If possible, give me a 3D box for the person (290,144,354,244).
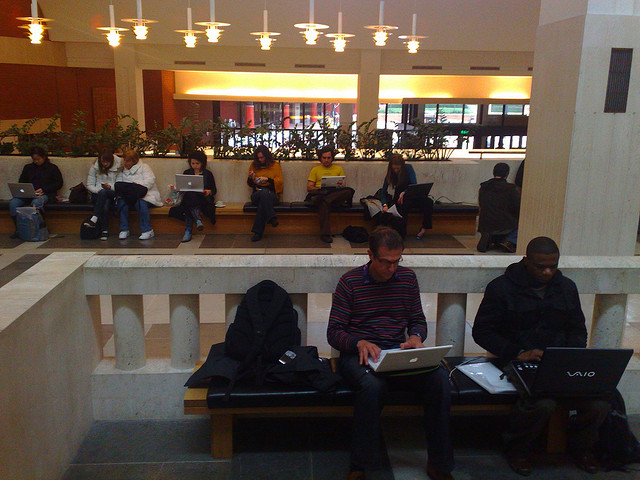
[{"bbox_3d":[-0.014,-0.794,9.183,1.255,1.526,1.059,-14,17,-31],"label":"person"}]

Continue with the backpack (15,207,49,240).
[{"bbox_3d":[-4.510,-0.234,8.698,0.610,0.561,0.338,4,8,35],"label":"backpack"}]

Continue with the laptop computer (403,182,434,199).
[{"bbox_3d":[1.567,-0.868,8.755,0.399,0.245,0.267,-3,38,-21],"label":"laptop computer"}]

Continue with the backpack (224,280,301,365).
[{"bbox_3d":[-0.409,0.569,3.846,0.492,0.493,0.362,-4,13,-10],"label":"backpack"}]

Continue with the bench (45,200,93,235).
[{"bbox_3d":[-4.235,-0.369,9.473,0.680,0.458,1.046,0,3,-25],"label":"bench"}]

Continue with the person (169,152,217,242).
[{"bbox_3d":[-2.039,-0.731,8.986,0.830,1.349,0.660,-14,17,-41],"label":"person"}]

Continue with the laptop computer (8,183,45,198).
[{"bbox_3d":[-4.619,-0.774,8.611,0.355,0.226,0.237,5,29,-3],"label":"laptop computer"}]

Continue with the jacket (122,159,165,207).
[{"bbox_3d":[-3.052,-0.865,9.006,0.613,0.562,0.632,11,-6,-14],"label":"jacket"}]

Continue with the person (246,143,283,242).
[{"bbox_3d":[-0.889,-0.812,9.132,0.596,1.472,0.991,-3,13,-4],"label":"person"}]

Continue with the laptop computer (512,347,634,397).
[{"bbox_3d":[1.639,0.839,3.574,0.559,0.367,0.383,3,28,-8],"label":"laptop computer"}]

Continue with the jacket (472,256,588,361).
[{"bbox_3d":[1.554,0.548,4.021,0.934,0.739,0.537,-2,8,-7],"label":"jacket"}]

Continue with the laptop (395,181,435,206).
[{"bbox_3d":[1.573,-0.739,8.805,0.496,0.282,0.429,-5,10,-21],"label":"laptop"}]

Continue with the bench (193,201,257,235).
[{"bbox_3d":[-1.457,-0.324,9.391,0.945,0.405,0.554,0,21,-3],"label":"bench"}]

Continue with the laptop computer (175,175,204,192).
[{"bbox_3d":[-2.055,-0.902,8.780,0.394,0.250,0.274,3,26,3],"label":"laptop computer"}]

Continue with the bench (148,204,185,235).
[{"bbox_3d":[-2.537,-0.363,9.309,0.524,0.352,0.504,0,10,-5],"label":"bench"}]

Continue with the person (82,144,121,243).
[{"bbox_3d":[-3.479,-0.728,8.794,0.587,1.406,0.867,-4,13,-6],"label":"person"}]
